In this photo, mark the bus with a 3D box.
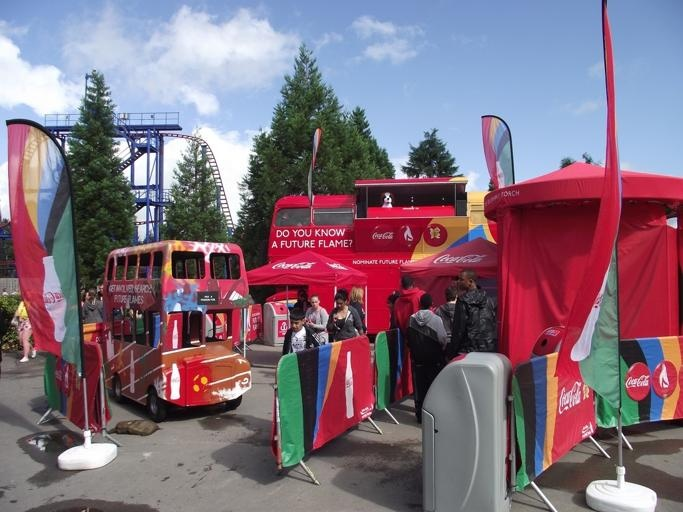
[{"bbox_3d":[-2.991,1.416,15.555,2.038,3.778,3.911,1,-2,-38],"label":"bus"}]

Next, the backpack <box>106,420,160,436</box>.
[{"bbox_3d":[-3.578,2.959,12.841,0.822,0.184,0.492,-1,9,-3],"label":"backpack"}]

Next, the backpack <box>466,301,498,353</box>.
[{"bbox_3d":[2.306,1.097,11.746,0.554,0.799,0.361,-5,10,-28],"label":"backpack"}]
